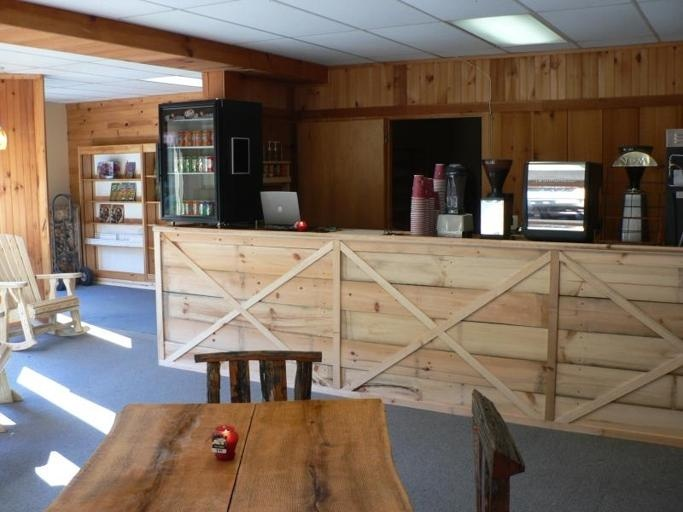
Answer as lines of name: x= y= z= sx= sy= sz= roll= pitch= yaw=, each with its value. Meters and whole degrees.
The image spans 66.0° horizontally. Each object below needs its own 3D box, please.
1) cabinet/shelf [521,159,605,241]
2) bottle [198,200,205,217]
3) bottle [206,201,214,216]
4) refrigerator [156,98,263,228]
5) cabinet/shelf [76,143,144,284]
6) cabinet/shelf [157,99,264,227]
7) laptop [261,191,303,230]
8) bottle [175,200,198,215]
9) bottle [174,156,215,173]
cabinet/shelf: x=1.720 y=-0.366 z=3.863 sx=0.648 sy=0.526 sz=0.487 roll=-5 pitch=11 yaw=-43
bottle: x=-1.555 y=-0.529 z=5.793 sx=0.091 sy=0.145 sz=0.033 roll=5 pitch=11 yaw=28
bottle: x=-1.441 y=-0.521 z=5.749 sx=0.123 sy=0.149 sz=0.054 roll=9 pitch=13 yaw=44
refrigerator: x=-1.515 y=-1.077 z=6.185 sx=1.086 sy=1.283 sz=1.045 roll=6 pitch=12 yaw=40
cabinet/shelf: x=-3.732 y=-0.699 z=8.703 sx=1.619 sy=2.219 sz=0.417 roll=6 pitch=11 yaw=34
cabinet/shelf: x=-1.474 y=-1.055 z=6.243 sx=1.095 sy=1.320 sz=1.120 roll=-7 pitch=9 yaw=-44
laptop: x=-0.425 y=-0.443 z=4.844 sx=0.507 sy=0.318 sz=0.371 roll=7 pitch=15 yaw=45
bottle: x=-1.722 y=-0.534 z=5.860 sx=0.215 sy=0.128 sz=0.201 roll=1 pitch=4 yaw=0
bottle: x=-1.645 y=-1.011 z=5.831 sx=0.557 sy=0.174 sz=0.110 roll=6 pitch=11 yaw=34
